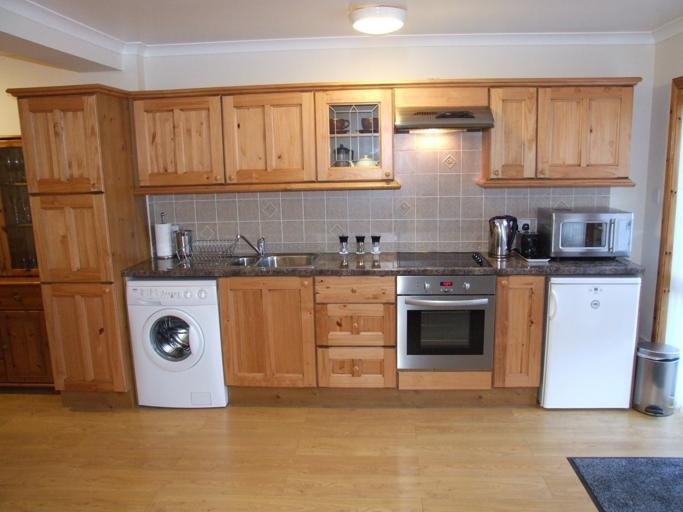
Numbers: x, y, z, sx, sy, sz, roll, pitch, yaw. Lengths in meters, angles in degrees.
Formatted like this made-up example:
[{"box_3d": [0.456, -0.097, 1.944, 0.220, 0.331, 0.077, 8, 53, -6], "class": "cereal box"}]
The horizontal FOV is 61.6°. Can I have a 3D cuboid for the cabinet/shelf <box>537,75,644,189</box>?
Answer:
[{"box_3d": [2.154, -1.046, 4.764, 0.546, 0.830, 1.014, -13, 17, -23], "class": "cabinet/shelf"}]

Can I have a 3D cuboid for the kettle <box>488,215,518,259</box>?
[{"box_3d": [1.368, -0.169, 4.870, 0.233, 0.356, 0.185, -1, 6, -3], "class": "kettle"}]

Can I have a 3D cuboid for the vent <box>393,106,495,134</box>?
[{"box_3d": [0.818, -1.114, 4.610, 0.772, 0.188, 0.193, 0, 5, 4], "class": "vent"}]

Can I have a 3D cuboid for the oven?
[{"box_3d": [0.789, 0.621, 4.876, 1.031, 0.695, 0.624, 0, 1, 1], "class": "oven"}]

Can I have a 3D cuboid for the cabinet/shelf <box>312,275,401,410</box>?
[{"box_3d": [0.118, 0.611, 4.675, 1.061, 1.168, 0.896, 0, 1, 2], "class": "cabinet/shelf"}]

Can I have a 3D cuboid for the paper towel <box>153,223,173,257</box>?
[{"box_3d": [-1.568, -0.137, 5.148, 0.242, 0.289, 0.181, -5, 3, -27], "class": "paper towel"}]

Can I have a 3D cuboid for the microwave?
[{"box_3d": [1.983, -0.184, 4.769, 0.685, 0.336, 0.455, 0, 4, 4], "class": "microwave"}]

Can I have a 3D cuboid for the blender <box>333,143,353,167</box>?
[{"box_3d": [0.017, -0.844, 4.806, 0.225, 0.191, 0.155, 1, 6, 3], "class": "blender"}]

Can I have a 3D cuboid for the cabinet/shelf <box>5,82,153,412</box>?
[{"box_3d": [-2.079, -0.028, 4.680, 0.871, 2.594, 0.356, -4, 7, -23], "class": "cabinet/shelf"}]

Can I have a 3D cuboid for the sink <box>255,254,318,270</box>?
[{"box_3d": [-0.480, 0.037, 5.063, 0.527, 0.096, 0.215, -1, 5, -6], "class": "sink"}]

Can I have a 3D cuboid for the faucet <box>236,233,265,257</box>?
[{"box_3d": [-0.794, -0.098, 5.083, 0.235, 0.197, 0.418, -2, 5, -8], "class": "faucet"}]

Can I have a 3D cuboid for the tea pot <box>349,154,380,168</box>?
[{"box_3d": [0.194, -0.791, 4.767, 0.211, 0.068, 0.105, 0, 4, 4], "class": "tea pot"}]

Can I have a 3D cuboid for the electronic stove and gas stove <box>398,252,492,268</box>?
[{"box_3d": [0.846, 0.020, 4.872, 0.732, 0.082, 0.552, 0, 4, 5], "class": "electronic stove and gas stove"}]

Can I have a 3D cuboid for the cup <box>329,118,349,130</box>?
[{"box_3d": [-0.025, -1.085, 4.707, 0.148, 0.075, 0.096, 1, 5, -4], "class": "cup"}]

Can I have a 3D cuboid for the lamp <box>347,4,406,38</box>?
[{"box_3d": [0.223, -1.584, 3.813, 0.332, 0.115, 0.263, -3, 5, -24], "class": "lamp"}]

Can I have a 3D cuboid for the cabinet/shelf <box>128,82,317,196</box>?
[{"box_3d": [-0.917, -0.980, 4.982, 1.968, 0.815, 0.367, 6, 14, 29], "class": "cabinet/shelf"}]

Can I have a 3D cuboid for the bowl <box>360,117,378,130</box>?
[{"box_3d": [0.231, -1.097, 4.754, 0.124, 0.069, 0.108, 0, 10, -6], "class": "bowl"}]
